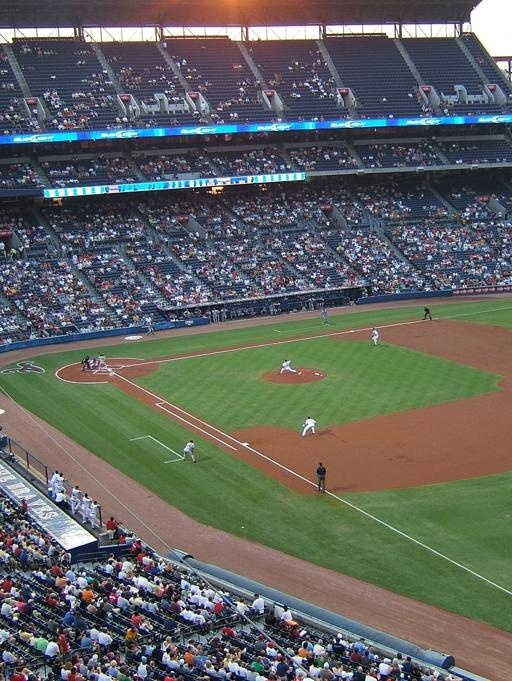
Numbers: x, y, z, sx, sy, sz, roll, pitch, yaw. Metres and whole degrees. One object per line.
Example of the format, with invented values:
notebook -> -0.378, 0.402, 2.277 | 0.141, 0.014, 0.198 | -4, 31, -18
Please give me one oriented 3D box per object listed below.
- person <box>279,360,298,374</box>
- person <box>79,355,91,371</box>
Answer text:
person -> 1.882, 1.379, 65.348 | 0.984, 0.737, 1.889 | -2, 12, 1
person -> -10.029, 1.303, 67.897 | 0.580, 0.831, 1.695 | -5, 12, -8
